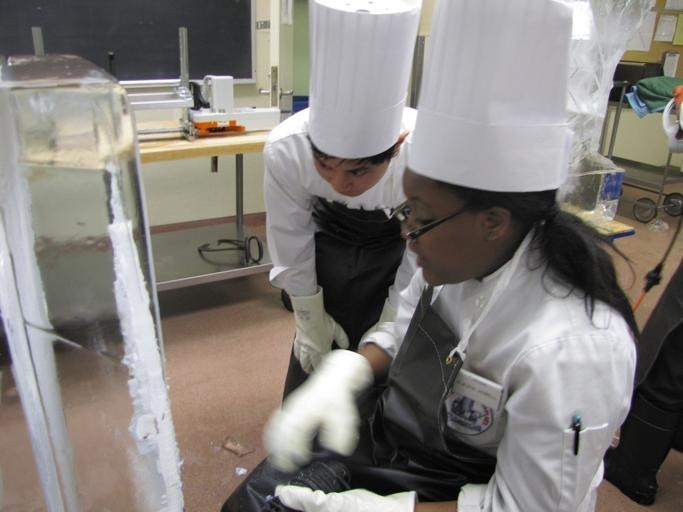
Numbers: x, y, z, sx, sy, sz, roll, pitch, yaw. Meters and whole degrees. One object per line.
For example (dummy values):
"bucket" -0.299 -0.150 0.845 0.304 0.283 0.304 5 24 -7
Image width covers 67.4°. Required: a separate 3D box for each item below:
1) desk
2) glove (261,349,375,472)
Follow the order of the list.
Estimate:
"desk" -0.790 -0.289 2.847 0.768 0.833 0.822 -6 29 -10
"glove" -0.047 0.339 1.159 0.175 0.095 0.287 8 53 20
